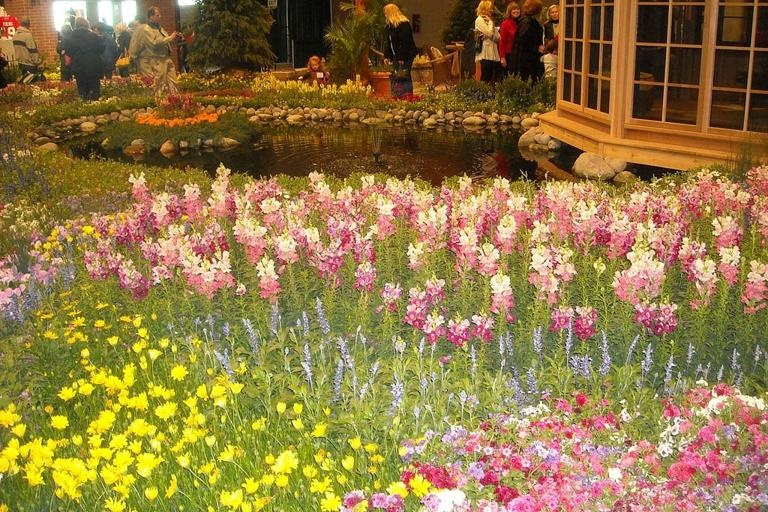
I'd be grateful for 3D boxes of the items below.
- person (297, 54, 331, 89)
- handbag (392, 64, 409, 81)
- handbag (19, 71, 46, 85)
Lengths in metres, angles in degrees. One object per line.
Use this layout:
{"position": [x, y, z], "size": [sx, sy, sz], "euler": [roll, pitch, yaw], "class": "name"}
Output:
{"position": [-2.101, -5.879, 21.090], "size": [0.757, 0.793, 1.638], "euler": [-3, 19, -4], "class": "person"}
{"position": [0.452, -5.011, 17.763], "size": [0.349, 0.405, 0.360], "euler": [-18, -25, -8], "class": "handbag"}
{"position": [-12.748, -6.429, 23.992], "size": [0.286, 0.318, 0.662], "euler": [16, 2, -2], "class": "handbag"}
